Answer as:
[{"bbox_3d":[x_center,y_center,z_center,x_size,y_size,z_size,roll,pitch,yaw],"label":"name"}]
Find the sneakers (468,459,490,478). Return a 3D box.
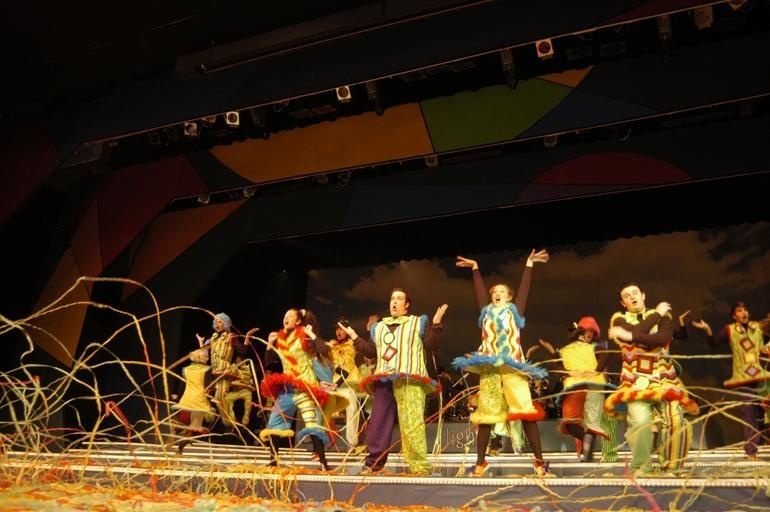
[{"bbox_3d":[0.975,2.273,7.930,0.144,0.147,0.363,-14,-19,-12],"label":"sneakers"}]

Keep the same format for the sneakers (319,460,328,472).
[{"bbox_3d":[-0.677,2.347,8.316,0.138,0.135,0.064,2,-1,-3],"label":"sneakers"}]
